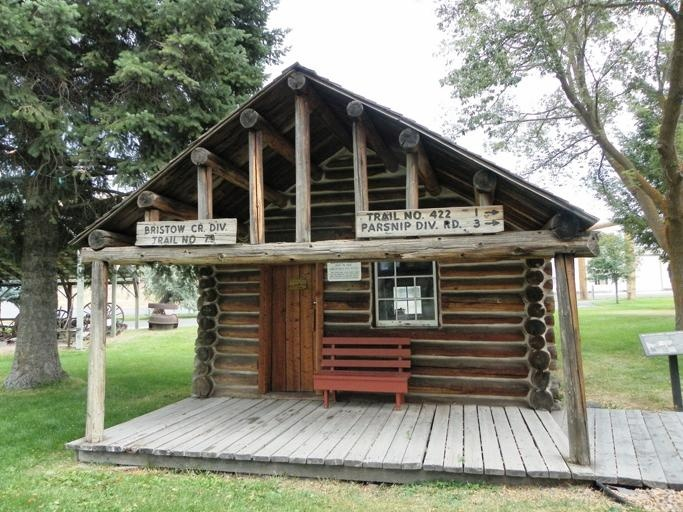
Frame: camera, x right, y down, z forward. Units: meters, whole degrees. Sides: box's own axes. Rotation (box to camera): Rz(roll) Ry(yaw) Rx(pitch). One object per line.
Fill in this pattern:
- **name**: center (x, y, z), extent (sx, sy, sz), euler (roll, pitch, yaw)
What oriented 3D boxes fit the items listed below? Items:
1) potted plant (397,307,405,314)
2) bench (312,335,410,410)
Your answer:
- **potted plant**: center (1.178, 1.083, 10.496), extent (0.136, 0.117, 0.118), euler (-1, -12, 7)
- **bench**: center (0.420, 2.170, 10.002), extent (1.772, 1.064, 0.739), euler (-2, 3, 15)
